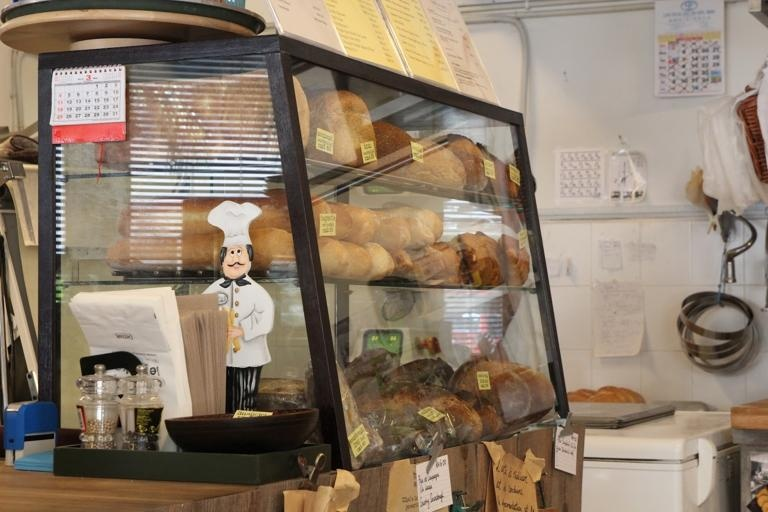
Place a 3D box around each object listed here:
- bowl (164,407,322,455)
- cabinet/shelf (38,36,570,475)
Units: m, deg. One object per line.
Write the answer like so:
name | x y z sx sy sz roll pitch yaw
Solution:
bowl | -0.312 0.385 1.678 0.332 0.084 0.084 -1 -5 -4
cabinet/shelf | -0.164 0.086 2.560 0.879 1.061 1.628 -5 -6 27
